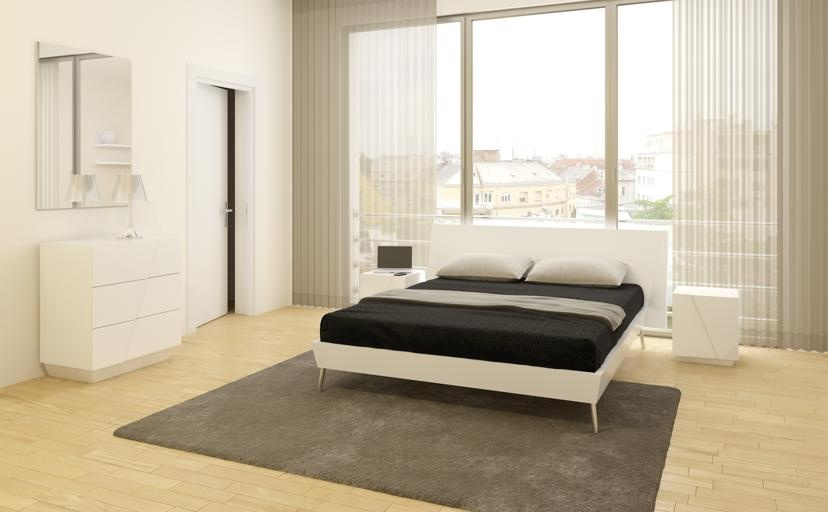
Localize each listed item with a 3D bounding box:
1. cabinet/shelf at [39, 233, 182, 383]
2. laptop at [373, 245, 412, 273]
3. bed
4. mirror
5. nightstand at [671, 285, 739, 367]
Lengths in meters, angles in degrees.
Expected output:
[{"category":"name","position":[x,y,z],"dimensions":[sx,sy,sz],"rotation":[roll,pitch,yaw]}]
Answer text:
[{"category":"cabinet/shelf","position":[-2.739,0.480,5.092],"dimensions":[0.843,1.332,1.457],"rotation":[-1,1,26]},{"category":"laptop","position":[-0.238,0.023,6.881],"dimensions":[0.567,0.315,0.281],"rotation":[1,3,6]},{"category":"bed","position":[1.068,0.417,5.391],"dimensions":[2.574,1.075,2.308],"rotation":[1,2,25]},{"category":"mirror","position":[-3.066,-1.168,5.300],"dimensions":[0.875,1.313,0.069],"rotation":[-6,18,-45]},{"category":"nightstand","position":[2.779,0.702,5.683],"dimensions":[0.747,0.673,0.720],"rotation":[-1,-2,27]}]
